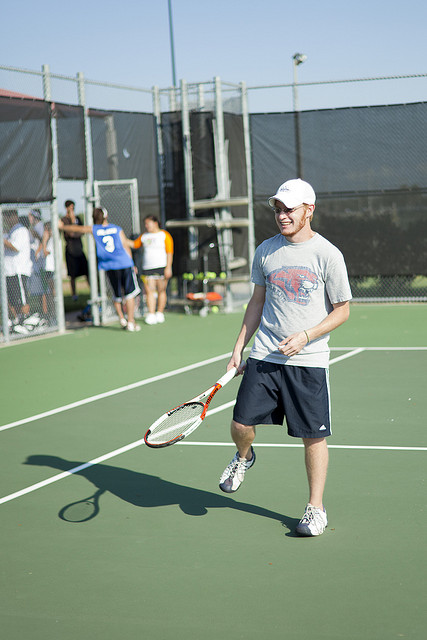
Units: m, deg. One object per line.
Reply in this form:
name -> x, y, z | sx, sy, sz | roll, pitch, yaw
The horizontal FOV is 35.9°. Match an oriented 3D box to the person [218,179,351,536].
person -> 0.366, 0.195, 3.476 | 0.698, 1.821, 0.429 | 3, 9, 39

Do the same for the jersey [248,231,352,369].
jersey -> 0.439, -0.098, 3.417 | 0.543, 0.679, 0.238 | 0, 8, 22

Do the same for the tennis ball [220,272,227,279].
tennis ball -> 0.171, -0.867, 12.999 | 0.117, 0.092, 0.089 | 6, -26, 18

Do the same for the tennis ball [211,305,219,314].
tennis ball -> 0.021, -0.204, 13.318 | 0.150, 0.145, 0.076 | 9, -5, -6

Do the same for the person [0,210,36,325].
person -> -3.252, -0.866, 10.889 | 0.305, 1.840, 0.524 | 2, 9, 32

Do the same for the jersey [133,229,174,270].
jersey -> -1.138, -1.315, 12.320 | 0.787, 0.765, 0.416 | 1, 2, 7

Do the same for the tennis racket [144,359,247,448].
tennis racket -> -0.088, 0.435, 3.659 | 0.958, 0.064, 0.258 | -34, 35, -33

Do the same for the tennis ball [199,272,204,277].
tennis ball -> -0.249, -0.888, 13.040 | 0.089, 0.084, 0.115 | -3, 7, 0

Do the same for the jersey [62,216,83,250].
jersey -> -3.042, -1.832, 14.026 | 0.350, 0.692, 1.006 | -4, 7, -13

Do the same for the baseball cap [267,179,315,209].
baseball cap -> 0.394, -0.621, 3.316 | 0.142, 0.124, 0.221 | 3, -2, 38

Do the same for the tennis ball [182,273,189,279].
tennis ball -> -0.583, -0.873, 13.176 | 0.077, 0.114, 0.213 | -6, 7, -23
